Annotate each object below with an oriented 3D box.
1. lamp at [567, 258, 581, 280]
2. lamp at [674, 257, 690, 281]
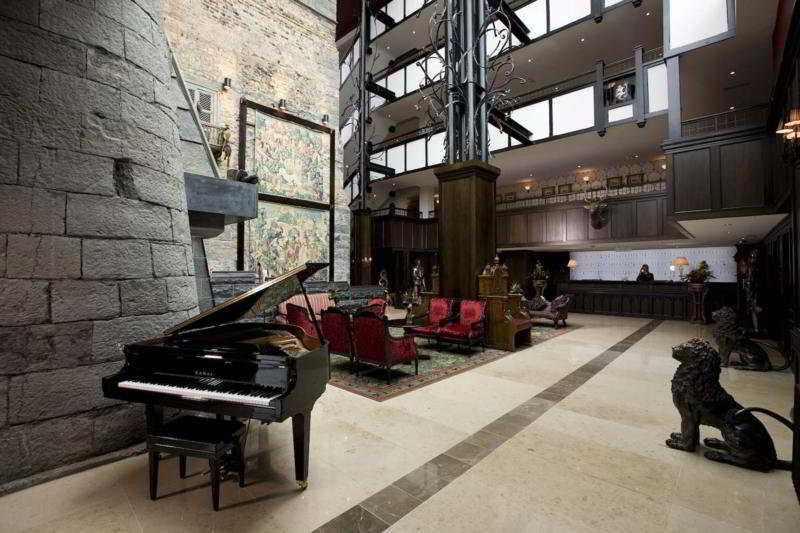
[{"bbox_3d":[5.976,0.064,16.972,0.416,0.718,0.684,-2,2,20],"label":"lamp"},{"bbox_3d":[8.127,0.052,14.271,0.350,0.684,1.475,-2,2,28],"label":"lamp"}]
